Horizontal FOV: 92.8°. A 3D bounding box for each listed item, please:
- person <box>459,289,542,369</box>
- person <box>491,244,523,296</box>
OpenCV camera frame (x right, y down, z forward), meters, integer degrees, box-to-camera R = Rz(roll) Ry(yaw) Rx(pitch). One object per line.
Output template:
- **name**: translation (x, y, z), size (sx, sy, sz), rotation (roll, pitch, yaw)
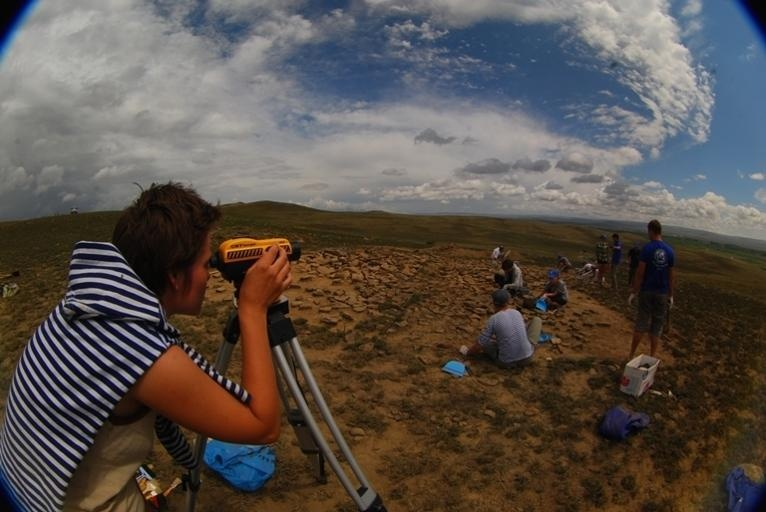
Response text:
- **person**: translation (2.521, 1.588, 7.712), size (1.375, 1.822, 0.713), rotation (17, 36, 23)
- **person**: translation (4.380, 0.435, 12.976), size (0.921, 1.452, 1.015), rotation (-8, 52, 21)
